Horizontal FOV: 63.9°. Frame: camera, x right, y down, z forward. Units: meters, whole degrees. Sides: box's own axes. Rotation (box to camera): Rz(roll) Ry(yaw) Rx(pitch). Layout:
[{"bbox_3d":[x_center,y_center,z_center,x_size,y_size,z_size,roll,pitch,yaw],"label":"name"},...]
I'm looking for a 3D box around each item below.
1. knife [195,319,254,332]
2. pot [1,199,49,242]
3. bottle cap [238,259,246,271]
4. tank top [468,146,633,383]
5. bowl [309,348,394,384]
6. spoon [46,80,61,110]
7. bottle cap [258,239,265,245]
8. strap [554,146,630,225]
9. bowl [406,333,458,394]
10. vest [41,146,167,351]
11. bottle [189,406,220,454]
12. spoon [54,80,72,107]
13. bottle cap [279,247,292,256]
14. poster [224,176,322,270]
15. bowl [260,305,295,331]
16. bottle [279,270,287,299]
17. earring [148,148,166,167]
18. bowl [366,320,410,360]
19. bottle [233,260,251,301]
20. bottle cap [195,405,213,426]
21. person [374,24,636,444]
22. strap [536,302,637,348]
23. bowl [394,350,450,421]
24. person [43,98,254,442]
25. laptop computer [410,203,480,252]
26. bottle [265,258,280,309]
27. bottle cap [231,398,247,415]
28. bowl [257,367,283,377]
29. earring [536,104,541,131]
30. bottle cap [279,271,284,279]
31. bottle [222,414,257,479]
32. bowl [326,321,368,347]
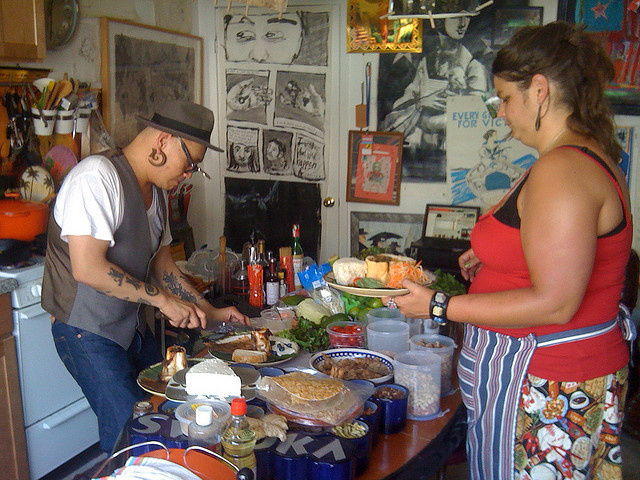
[{"bbox_3d":[-0.422,0.384,2.236,0.258,0.054,0.079,-4,33,28],"label":"knife"},{"bbox_3d":[-1.644,-0.123,2.969,0.271,0.245,0.270,1,11,0],"label":"pot"},{"bbox_3d":[-0.464,0.152,3.044,0.051,0.085,0.053,-1,6,-11],"label":"bottle cap"},{"bbox_3d":[0.708,0.045,1.964,0.617,0.853,0.629,2,5,16],"label":"tank top"},{"bbox_3d":[0.115,0.459,1.884,0.307,0.050,0.210,0,9,7],"label":"bowl"},{"bbox_3d":[-1.657,-0.903,3.201,0.030,0.232,0.036,15,-6,34],"label":"spoon"},{"bbox_3d":[-0.343,0.022,3.052,0.043,0.041,0.044,-3,9,-15],"label":"bottle cap"},{"bbox_3d":[0.801,-0.171,1.510,0.212,0.206,0.059,34,41,4],"label":"strap"},{"bbox_3d":[0.427,0.461,1.966,0.194,0.188,0.195,0,3,0],"label":"bowl"},{"bbox_3d":[-0.939,0.052,2.254,0.554,0.888,0.346,-5,10,-26],"label":"vest"},{"bbox_3d":[-0.302,0.494,1.340,0.077,0.120,0.074,-1,9,0],"label":"bottle"},{"bbox_3d":[-1.606,-0.934,3.226,0.073,0.199,0.028,13,7,-19],"label":"spoon"},{"bbox_3d":[-0.198,0.073,3.036,0.049,0.037,0.049,1,6,5],"label":"bottle cap"},{"bbox_3d":[-0.357,-0.166,4.280,0.785,0.802,0.035,2,6,10],"label":"poster"},{"bbox_3d":[-0.200,0.367,2.375,0.175,0.069,0.143,7,11,40],"label":"bowl"},{"bbox_3d":[-0.212,0.252,2.939,0.045,0.139,0.111,-1,9,-4],"label":"bottle"},{"bbox_3d":[-0.681,-0.341,2.147,0.067,0.078,0.016,-1,9,-6],"label":"earring"},{"bbox_3d":[0.268,0.388,2.026,0.129,0.143,0.131,-1,11,0],"label":"bowl"},{"bbox_3d":[-0.452,0.236,2.944,0.096,0.202,0.298,-2,9,-9],"label":"bottle"},{"bbox_3d":[-0.298,0.452,1.319,0.043,0.042,0.041,1,8,6],"label":"bottle cap"},{"bbox_3d":[0.651,0.023,1.585,0.592,1.329,0.356,4,10,25],"label":"person"},{"bbox_3d":[0.831,0.261,1.577,0.234,0.064,0.177,-16,1,0],"label":"strap"},{"bbox_3d":[0.354,0.512,1.882,0.227,0.199,0.205,-3,4,-17],"label":"bowl"},{"bbox_3d":[-0.791,0.138,2.212,0.714,1.438,0.504,-6,10,-31],"label":"person"},{"bbox_3d":[1.035,-0.088,4.159,0.542,0.286,0.491,0,17,7],"label":"laptop computer"},{"bbox_3d":[-0.263,0.252,2.853,0.080,0.262,0.075,-1,9,0],"label":"bottle"},{"bbox_3d":[-0.208,0.426,1.311,0.037,0.049,0.047,-2,9,-11],"label":"bottle cap"},{"bbox_3d":[-0.179,0.465,1.829,0.088,0.022,0.069,-2,9,-9],"label":"bowl"},{"bbox_3d":[0.665,-0.369,1.561,0.010,0.072,0.023,3,9,21],"label":"earring"},{"bbox_3d":[-0.220,0.202,2.901,0.025,0.028,0.024,-4,-5,45],"label":"bottle cap"},{"bbox_3d":[-0.215,0.536,1.364,0.086,0.187,0.144,-2,9,-7],"label":"bottle"},{"bbox_3d":[0.114,0.401,2.124,0.153,0.082,0.155,-1,9,0],"label":"bowl"}]
